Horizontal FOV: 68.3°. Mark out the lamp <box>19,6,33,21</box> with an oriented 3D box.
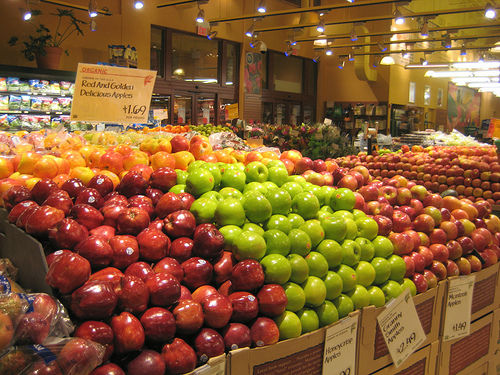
[{"bbox_3d":[-3.453,-2.705,5.674,0.125,0.236,0.304,-5,12,-31],"label":"lamp"}]
